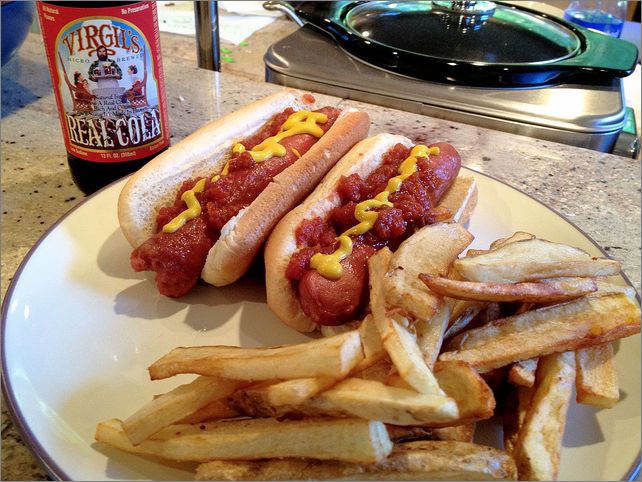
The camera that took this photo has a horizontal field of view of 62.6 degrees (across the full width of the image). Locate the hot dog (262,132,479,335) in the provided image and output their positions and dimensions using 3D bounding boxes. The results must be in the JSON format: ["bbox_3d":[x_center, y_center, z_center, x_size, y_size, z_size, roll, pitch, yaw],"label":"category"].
[{"bbox_3d":[0.193,-0.031,2.203,0.545,0.302,0.982,41,63,17],"label":"hot dog"}]
